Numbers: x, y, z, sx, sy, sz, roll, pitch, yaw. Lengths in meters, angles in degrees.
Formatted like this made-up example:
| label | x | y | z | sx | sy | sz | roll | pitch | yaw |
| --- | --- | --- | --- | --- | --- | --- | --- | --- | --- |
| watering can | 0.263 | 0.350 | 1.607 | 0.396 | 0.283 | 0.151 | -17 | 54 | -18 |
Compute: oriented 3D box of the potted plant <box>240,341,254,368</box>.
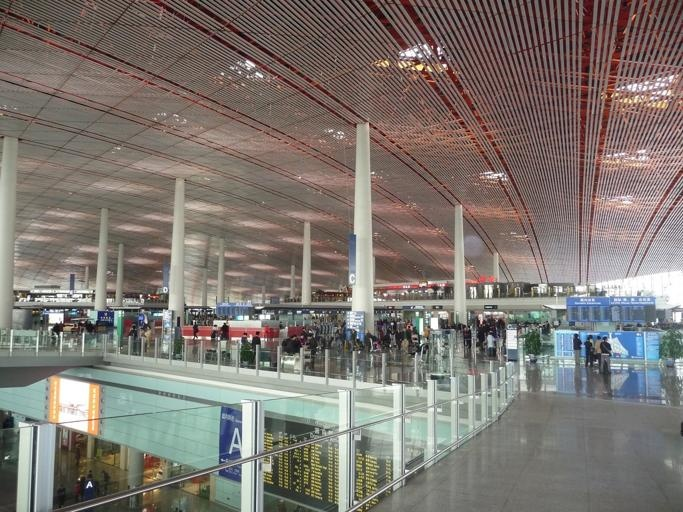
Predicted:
| label | x | y | z | sx | sy | sz | roll | pitch | yaw |
| --- | --- | --- | --- | --- | --- | --- | --- | --- | --- |
| potted plant | -3.237 | 3.401 | 18.146 | 0.294 | 0.811 | 0.800 | 17 | -13 | -39 |

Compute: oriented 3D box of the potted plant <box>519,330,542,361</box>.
| label | x | y | z | sx | sy | sz | roll | pitch | yaw |
| --- | --- | --- | --- | --- | --- | --- | --- | --- | --- |
| potted plant | 8.234 | 3.849 | 22.815 | 0.748 | 1.353 | 1.146 | 5 | -9 | 19 |
